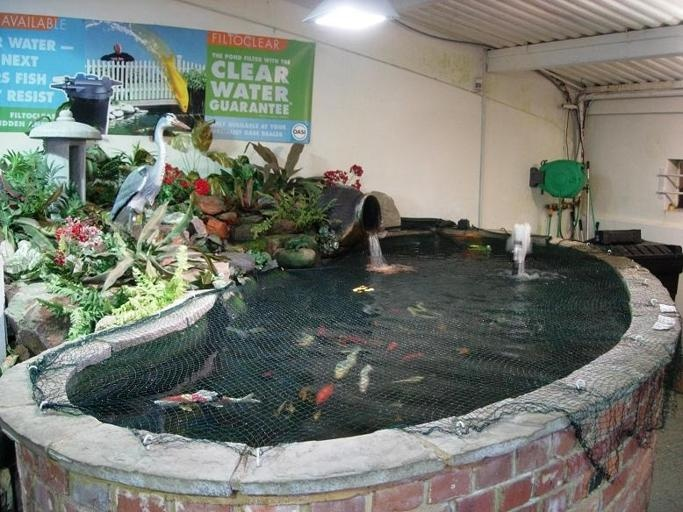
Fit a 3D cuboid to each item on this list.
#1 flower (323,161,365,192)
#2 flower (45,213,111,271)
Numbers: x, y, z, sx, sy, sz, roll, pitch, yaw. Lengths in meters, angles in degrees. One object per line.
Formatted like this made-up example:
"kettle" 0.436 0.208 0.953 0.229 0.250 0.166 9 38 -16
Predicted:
"flower" 0.013 -1.205 7.013 0.458 0.304 0.611 19 18 21
"flower" -2.063 -0.083 3.898 0.447 0.422 0.389 -7 13 -31
